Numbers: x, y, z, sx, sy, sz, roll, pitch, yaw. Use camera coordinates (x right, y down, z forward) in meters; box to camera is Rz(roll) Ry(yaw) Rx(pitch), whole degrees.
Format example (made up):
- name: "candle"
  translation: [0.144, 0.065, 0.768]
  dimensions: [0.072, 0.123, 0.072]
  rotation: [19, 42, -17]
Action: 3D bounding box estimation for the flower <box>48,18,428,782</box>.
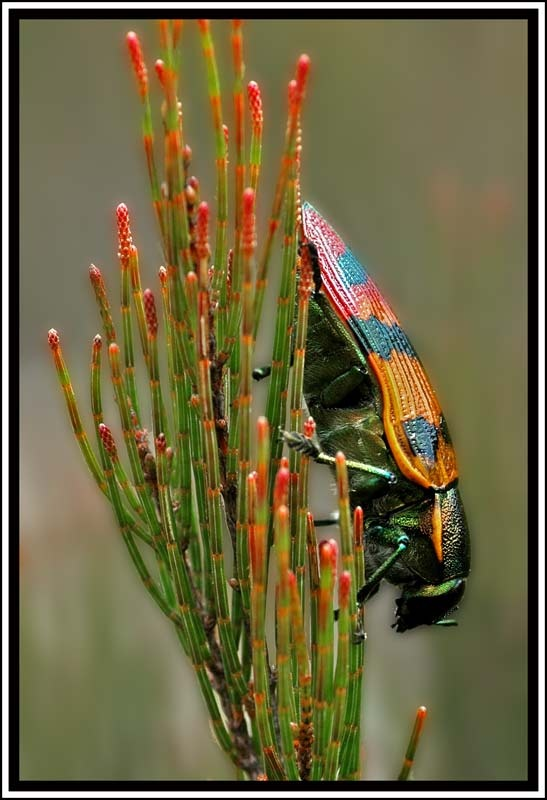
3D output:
- name: "flower"
  translation: [-0.061, 0.070, 1.692]
  dimensions: [0.423, 1.002, 0.724]
  rotation: [-3, 5, 5]
